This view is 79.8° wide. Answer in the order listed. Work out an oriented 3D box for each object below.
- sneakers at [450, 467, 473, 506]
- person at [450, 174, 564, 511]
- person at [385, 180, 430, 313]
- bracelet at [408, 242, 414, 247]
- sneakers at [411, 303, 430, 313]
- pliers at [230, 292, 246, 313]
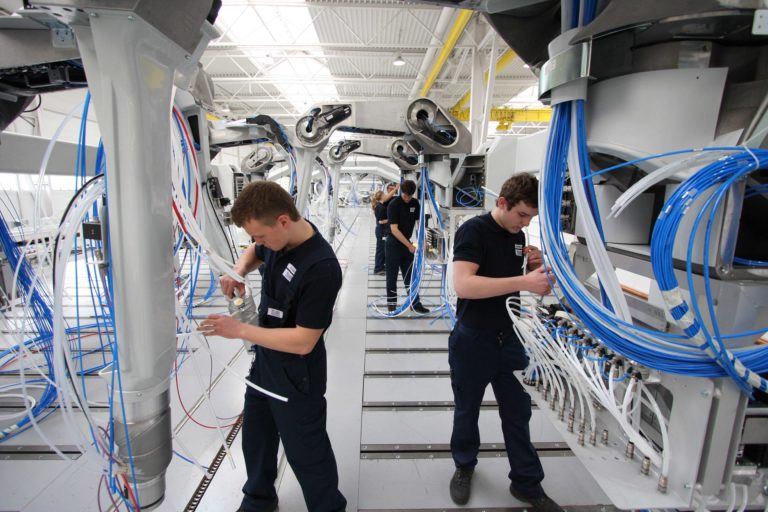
[{"bbox_3d":[0.451,1.349,2.714,0.084,0.101,0.250,2,15,1],"label":"sneakers"},{"bbox_3d":[0.663,0.505,2.586,0.586,1.904,0.584,1,6,9],"label":"person"},{"bbox_3d":[0.272,-0.112,5.401,0.500,1.535,0.607,0,6,4],"label":"person"},{"bbox_3d":[0.301,-0.127,5.249,0.089,0.032,0.132,6,-3,17],"label":"bracelet"},{"bbox_3d":[0.423,0.597,5.364,0.215,0.173,0.089,-1,6,13],"label":"sneakers"},{"bbox_3d":[-0.746,0.240,2.379,0.057,0.094,0.084,3,-3,-31],"label":"pliers"}]
